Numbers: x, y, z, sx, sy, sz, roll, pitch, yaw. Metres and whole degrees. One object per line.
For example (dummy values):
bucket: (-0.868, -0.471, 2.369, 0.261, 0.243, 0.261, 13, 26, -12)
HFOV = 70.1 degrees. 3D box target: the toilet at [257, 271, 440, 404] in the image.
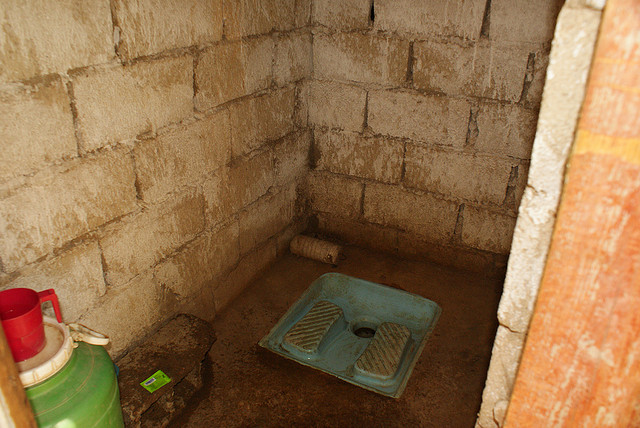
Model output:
toilet: (0.250, 0.830, 3.358, 1.037, 0.699, 0.856, 16, 5, 24)
